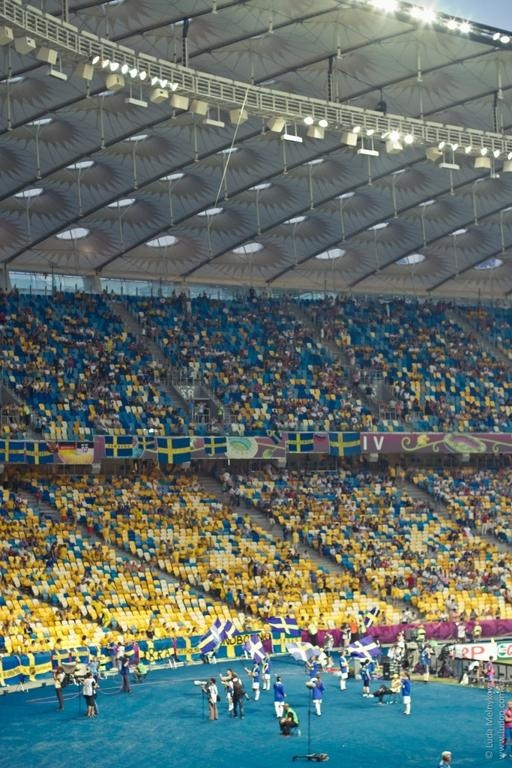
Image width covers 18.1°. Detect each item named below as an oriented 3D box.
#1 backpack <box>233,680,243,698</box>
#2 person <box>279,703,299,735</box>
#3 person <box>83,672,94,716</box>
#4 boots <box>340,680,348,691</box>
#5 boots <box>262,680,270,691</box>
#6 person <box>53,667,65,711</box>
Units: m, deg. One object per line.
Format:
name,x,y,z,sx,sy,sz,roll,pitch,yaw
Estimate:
backpack,-0.669,11.345,59.430,0.332,0.625,0.411,0,-6,15
person,1.184,12.050,57.108,0.702,1.397,0.792,-1,-7,15
person,-6.223,11.562,59.626,0.420,1.631,1.035,2,-5,-6
boots,3.513,12.242,64.888,0.248,0.522,0.363,-1,-21,0
boots,0.391,11.944,63.343,0.233,0.528,0.474,0,-17,-1
person,-7.561,11.687,61.505,0.415,1.558,1.871,2,-6,-7
